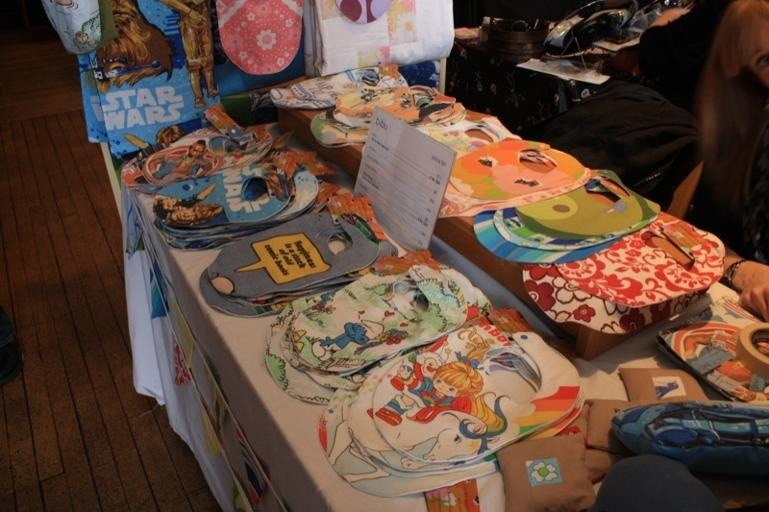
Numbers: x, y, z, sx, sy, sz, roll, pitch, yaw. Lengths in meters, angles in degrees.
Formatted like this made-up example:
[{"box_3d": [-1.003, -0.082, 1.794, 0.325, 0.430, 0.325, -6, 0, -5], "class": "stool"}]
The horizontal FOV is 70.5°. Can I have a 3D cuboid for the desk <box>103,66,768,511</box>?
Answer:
[{"box_3d": [-0.103, 0.143, 1.504, 0.692, 0.584, 1.308, -21, 38, -32], "class": "desk"}]

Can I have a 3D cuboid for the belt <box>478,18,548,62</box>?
[{"box_3d": [0.804, -1.342, 3.368, 0.371, 0.205, 0.232, 12, 40, 20], "class": "belt"}]
